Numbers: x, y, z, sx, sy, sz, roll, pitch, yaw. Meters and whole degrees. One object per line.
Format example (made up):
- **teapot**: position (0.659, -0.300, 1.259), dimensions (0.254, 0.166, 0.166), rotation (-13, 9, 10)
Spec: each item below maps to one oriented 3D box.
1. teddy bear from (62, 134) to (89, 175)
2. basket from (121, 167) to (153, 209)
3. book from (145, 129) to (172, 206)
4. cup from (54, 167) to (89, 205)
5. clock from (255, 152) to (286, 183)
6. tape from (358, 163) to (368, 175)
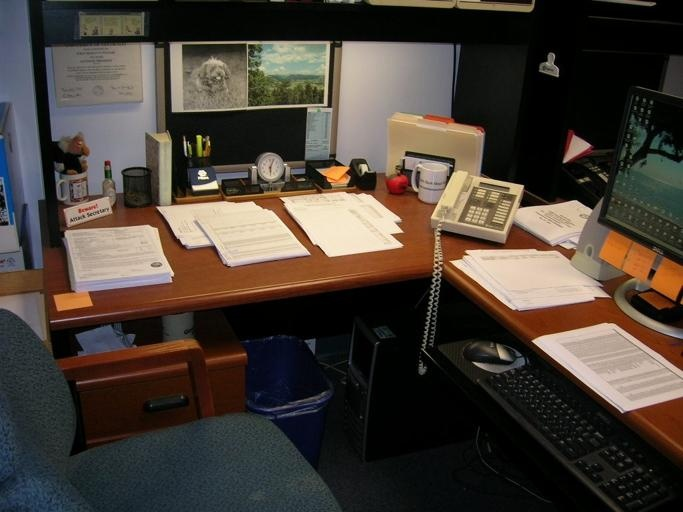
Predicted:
- **teddy bear**: position (-0.929, -0.350, 1.830), dimensions (0.114, 0.133, 0.079), rotation (0, 4, -34)
- **basket**: position (-0.730, -0.250, 1.953), dimensions (0.139, 0.135, 0.138), rotation (-1, 25, -8)
- **book**: position (-0.659, -0.310, 1.885), dimensions (0.077, 0.199, 0.210), rotation (-7, 29, -24)
- **cup**: position (-0.940, -0.245, 1.831), dimensions (0.084, 0.112, 0.134), rotation (19, 27, 34)
- **clock**: position (-0.298, -0.363, 2.136), dimensions (0.110, 0.119, 0.121), rotation (-6, 27, -27)
- **tape**: position (0.089, -0.359, 2.145), dimensions (0.042, 0.041, 0.076), rotation (1, 13, 2)
